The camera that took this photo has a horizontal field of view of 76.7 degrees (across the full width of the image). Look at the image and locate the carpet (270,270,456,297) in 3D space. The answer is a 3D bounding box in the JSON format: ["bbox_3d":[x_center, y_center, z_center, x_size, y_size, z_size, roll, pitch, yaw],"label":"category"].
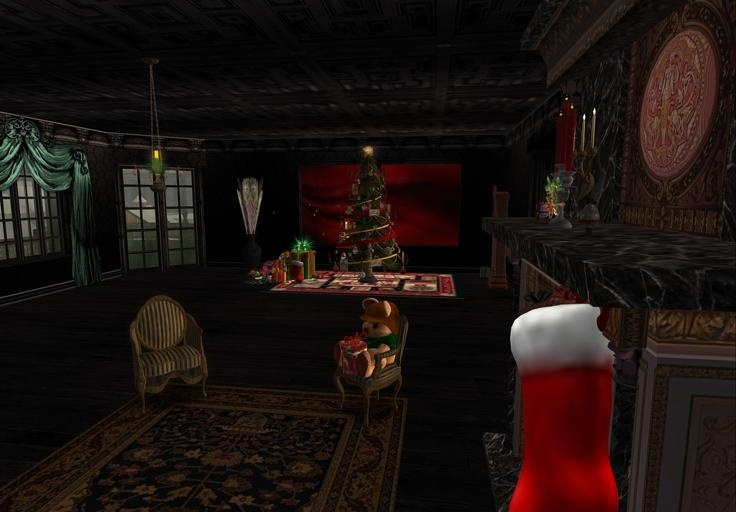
[{"bbox_3d":[0.090,0.506,8.883,3.067,0.105,1.920,2,12,8],"label":"carpet"}]

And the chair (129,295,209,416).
[{"bbox_3d":[-1.870,0.867,4.333,0.630,0.853,0.453,-4,16,-44],"label":"chair"}]

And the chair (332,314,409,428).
[{"bbox_3d":[0.000,0.978,4.213,0.709,0.812,0.706,-1,9,11],"label":"chair"}]
